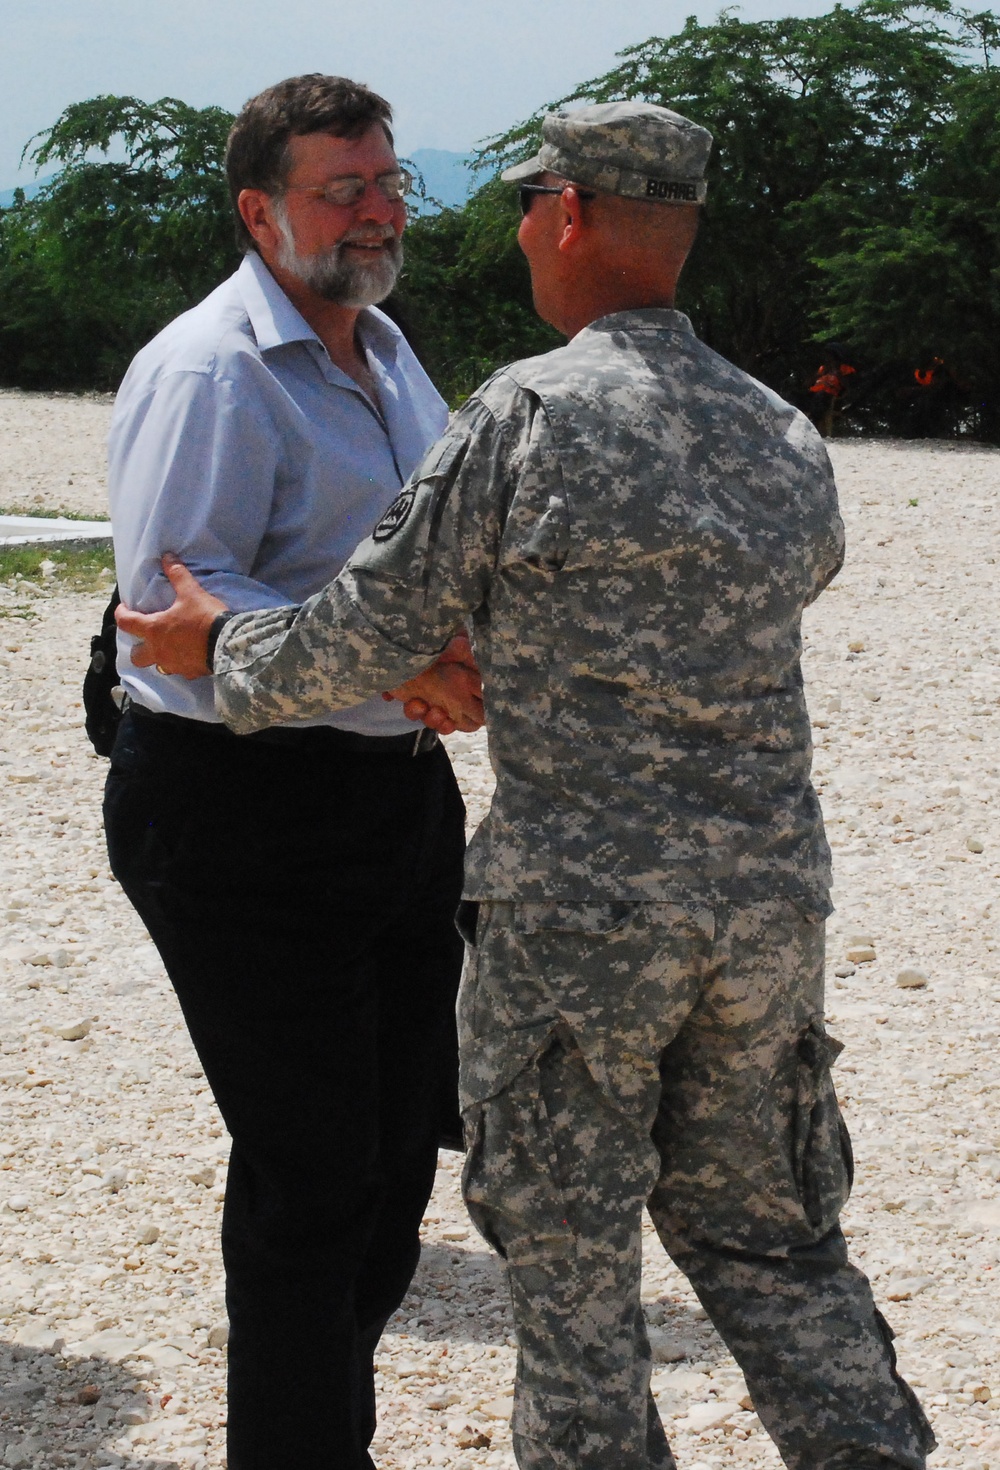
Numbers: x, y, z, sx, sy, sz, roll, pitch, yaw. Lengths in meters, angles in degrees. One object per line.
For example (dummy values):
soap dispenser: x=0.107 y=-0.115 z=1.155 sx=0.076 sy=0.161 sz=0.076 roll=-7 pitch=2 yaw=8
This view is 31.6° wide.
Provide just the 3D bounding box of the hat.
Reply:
hat: x=0.138 y=-0.737 z=2.192 sx=0.261 sy=0.099 sz=0.180 roll=19 pitch=29 yaw=29
